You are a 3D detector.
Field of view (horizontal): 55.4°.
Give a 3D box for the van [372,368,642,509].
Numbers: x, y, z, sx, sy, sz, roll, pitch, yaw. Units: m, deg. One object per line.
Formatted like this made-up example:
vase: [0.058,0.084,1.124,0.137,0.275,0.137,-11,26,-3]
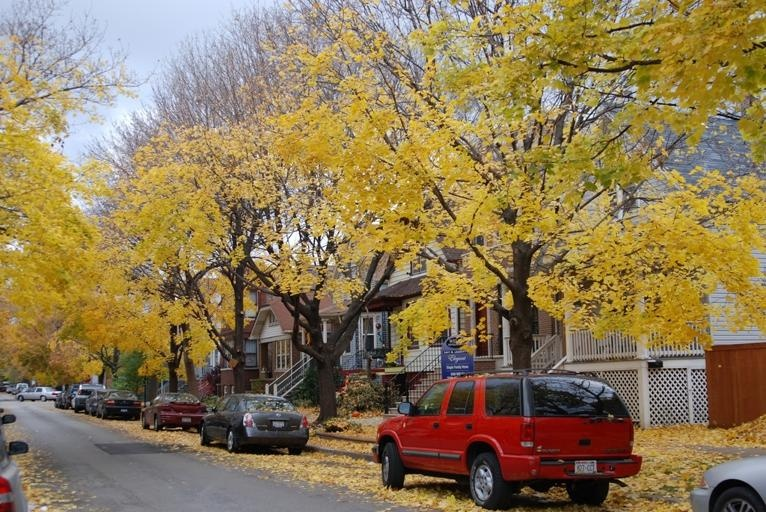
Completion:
van: [2.334,3.412,14.766,2.671,1.851,4.662,9,-11,-31]
